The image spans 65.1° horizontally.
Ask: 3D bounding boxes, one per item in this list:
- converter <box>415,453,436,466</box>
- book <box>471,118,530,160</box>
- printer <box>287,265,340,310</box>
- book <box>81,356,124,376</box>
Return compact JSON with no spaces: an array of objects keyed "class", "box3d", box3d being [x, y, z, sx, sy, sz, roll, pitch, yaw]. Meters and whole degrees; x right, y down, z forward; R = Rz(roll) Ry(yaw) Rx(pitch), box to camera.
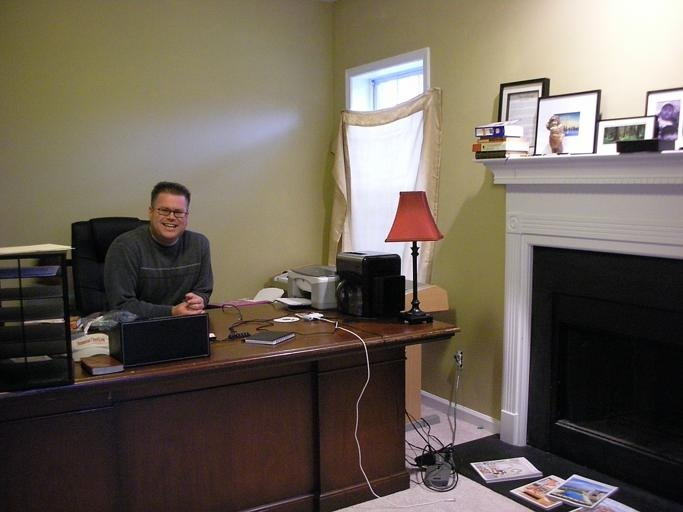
[{"class":"converter","box3d":[0.531,1.285,3.372,0.088,0.034,0.066,-7,0,35]},{"class":"book","box3d":[1.045,-0.728,3.467,0.247,0.238,0.317,-7,10,-31]},{"class":"printer","box3d":[-0.145,0.193,3.508,0.298,0.251,0.399,-6,11,-43]},{"class":"book","box3d":[-1.069,0.487,2.385,0.103,0.023,0.106,-1,8,-35]}]
